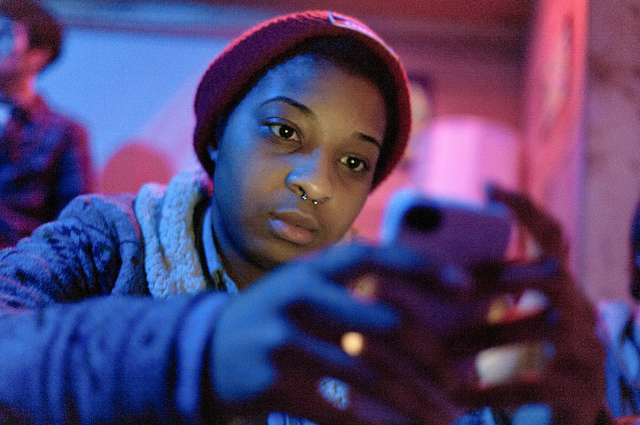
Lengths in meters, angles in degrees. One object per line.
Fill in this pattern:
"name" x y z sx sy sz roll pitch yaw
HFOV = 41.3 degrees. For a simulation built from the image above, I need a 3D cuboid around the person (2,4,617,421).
"person" -0.119 0.127 2.069 1.103 0.893 1.308 14 -22 -30
